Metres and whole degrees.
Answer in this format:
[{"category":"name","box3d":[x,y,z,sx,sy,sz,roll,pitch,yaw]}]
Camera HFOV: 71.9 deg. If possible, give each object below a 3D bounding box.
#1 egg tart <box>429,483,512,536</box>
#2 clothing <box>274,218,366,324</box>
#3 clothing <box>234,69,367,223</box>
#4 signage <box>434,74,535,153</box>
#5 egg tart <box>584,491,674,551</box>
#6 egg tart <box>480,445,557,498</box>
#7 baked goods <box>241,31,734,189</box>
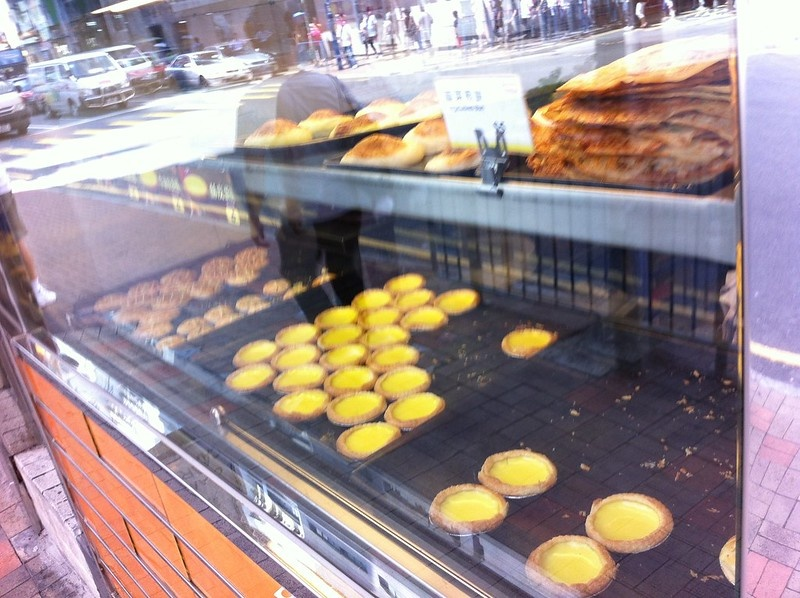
[{"category":"egg tart","box3d":[0.099,0.304,0.799,0.104,0.040,0.069,9,30,33]},{"category":"clothing","box3d":[-0.176,-0.087,1.429,0.295,0.230,0.069,6,14,32]},{"category":"clothing","box3d":[-0.205,-0.344,1.272,0.278,0.319,0.111,4,39,16]},{"category":"signage","box3d":[0.139,-0.298,0.876,0.178,0.113,0.008,12,44,42]},{"category":"egg tart","box3d":[0.296,0.290,0.718,0.104,0.042,0.068,0,26,18]},{"category":"egg tart","box3d":[0.176,0.253,0.809,0.083,0.021,0.078,4,20,27]},{"category":"baked goods","box3d":[0.131,-0.272,0.874,0.589,0.074,0.317,12,30,35]}]
